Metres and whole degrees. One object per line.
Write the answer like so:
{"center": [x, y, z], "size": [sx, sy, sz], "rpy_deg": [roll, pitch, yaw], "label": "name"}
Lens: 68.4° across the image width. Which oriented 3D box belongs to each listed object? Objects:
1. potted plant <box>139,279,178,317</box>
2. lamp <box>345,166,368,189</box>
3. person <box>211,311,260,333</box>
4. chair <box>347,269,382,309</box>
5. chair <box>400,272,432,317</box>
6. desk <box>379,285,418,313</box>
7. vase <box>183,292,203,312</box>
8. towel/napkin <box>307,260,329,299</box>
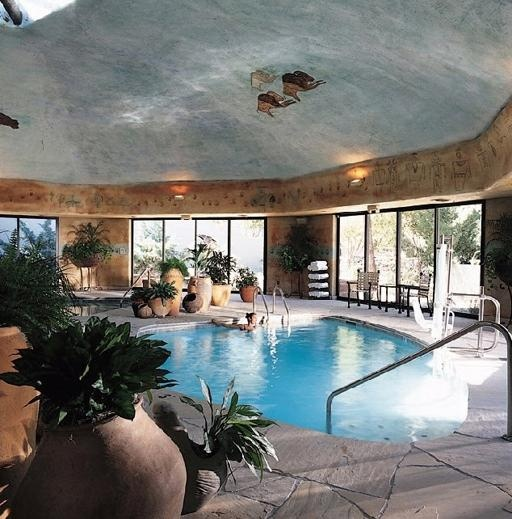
{"center": [-2.475, 1.008, 9.515], "size": [0.894, 0.824, 0.864], "rpy_deg": [4, -7, -32], "label": "potted plant"}
{"center": [2.854, -2.286, 10.548], "size": [0.158, 0.508, 0.586], "rpy_deg": [0, 13, -41], "label": "lamp"}
{"center": [-0.463, 1.420, 8.752], "size": [1.125, 0.413, 0.576], "rpy_deg": [2, -1, 25], "label": "person"}
{"center": [3.391, 0.907, 11.657], "size": [0.950, 0.958, 1.904], "rpy_deg": [2, -1, 17], "label": "chair"}
{"center": [4.198, 0.892, 9.737], "size": [0.753, 0.912, 2.509], "rpy_deg": [2, -1, 22], "label": "chair"}
{"center": [4.099, 1.113, 10.870], "size": [0.990, 0.689, 0.985], "rpy_deg": [-1, 1, -2], "label": "desk"}
{"center": [-1.665, 1.147, 10.078], "size": [0.492, 0.436, 0.477], "rpy_deg": [1, 2, 1], "label": "vase"}
{"center": [2.227, 0.713, 13.172], "size": [0.752, 1.219, 0.542], "rpy_deg": [2, 0, 11], "label": "towel/napkin"}
